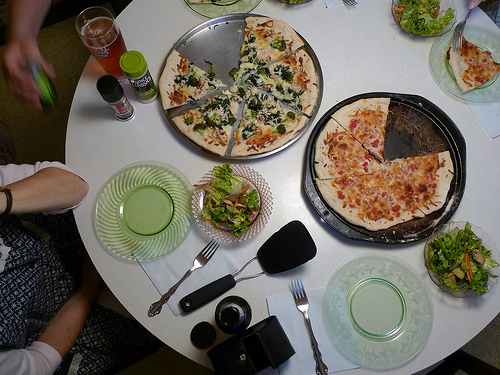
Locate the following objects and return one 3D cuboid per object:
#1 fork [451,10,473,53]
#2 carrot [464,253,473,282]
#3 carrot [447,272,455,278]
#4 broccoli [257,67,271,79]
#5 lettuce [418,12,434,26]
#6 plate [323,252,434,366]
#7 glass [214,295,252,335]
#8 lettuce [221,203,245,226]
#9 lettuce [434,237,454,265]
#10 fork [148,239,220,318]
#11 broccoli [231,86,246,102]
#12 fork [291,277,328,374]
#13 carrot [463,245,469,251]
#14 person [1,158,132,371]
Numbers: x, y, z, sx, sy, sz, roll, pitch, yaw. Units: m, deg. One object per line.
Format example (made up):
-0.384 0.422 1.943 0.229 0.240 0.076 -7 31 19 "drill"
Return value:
1.149 -0.837 2.132 0.026 0.025 0.240 15 93 -1 "fork"
1.007 0.362 1.808 0.022 0.013 0.133 1 74 2 "carrot"
0.935 0.404 1.831 0.040 0.011 0.013 -25 100 -1 "carrot"
0.084 -0.660 2.251 0.040 0.015 0.081 -3 74 -5 "broccoli"
0.950 -0.908 2.122 0.064 0.023 0.069 -23 86 -4 "lettuce"
0.598 0.609 1.990 0.418 0.493 0.509 0 40 0 "plate"
-0.075 0.588 1.826 0.166 0.062 0.176 -40 87 -5 "glass"
-0.072 0.131 1.920 0.094 0.038 0.097 34 94 -2 "lettuce"
0.927 0.289 1.849 0.045 0.063 0.139 -25 86 -3 "lettuce"
-0.318 0.432 1.878 0.063 0.042 0.483 42 91 25 "fork"
-0.069 -0.527 2.222 0.069 0.020 0.086 5 90 -3 "broccoli"
0.274 0.622 1.864 0.069 0.058 0.607 -8 80 -20 "fork"
1.015 0.279 1.843 0.030 0.009 0.010 -45 87 -5 "carrot"
-0.937 0.412 2.016 0.451 0.929 0.427 -16 61 -6 "person"
